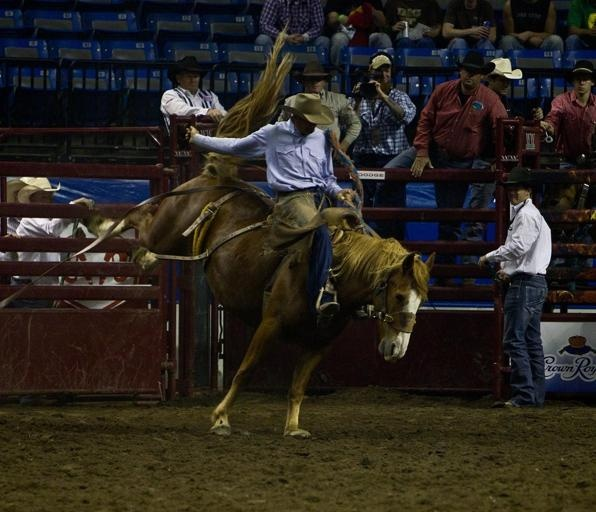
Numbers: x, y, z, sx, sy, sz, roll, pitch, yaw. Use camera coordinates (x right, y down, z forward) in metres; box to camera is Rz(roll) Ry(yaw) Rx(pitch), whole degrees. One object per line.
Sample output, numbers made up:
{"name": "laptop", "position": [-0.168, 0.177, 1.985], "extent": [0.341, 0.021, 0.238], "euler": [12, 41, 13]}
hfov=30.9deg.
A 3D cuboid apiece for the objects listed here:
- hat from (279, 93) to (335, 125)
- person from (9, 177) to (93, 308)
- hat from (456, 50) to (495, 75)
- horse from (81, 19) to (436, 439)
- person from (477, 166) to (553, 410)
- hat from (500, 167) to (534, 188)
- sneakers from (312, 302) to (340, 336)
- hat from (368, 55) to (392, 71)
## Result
{"name": "hat", "position": [0.110, -1.364, 9.931], "extent": [0.471, 0.288, 0.539], "euler": [2, 8, 2]}
{"name": "person", "position": [-2.779, -0.169, 11.797], "extent": [0.754, 1.434, 1.402], "euler": [0, 8, -11]}
{"name": "hat", "position": [2.003, -2.155, 11.978], "extent": [0.394, 0.153, 0.426], "euler": [15, -11, 10]}
{"name": "horse", "position": [-0.273, -0.209, 9.937], "extent": [2.977, 3.652, 1.124], "euler": [9, 11, 38]}
{"name": "person", "position": [2.287, 0.316, 10.984], "extent": [0.630, 2.415, 0.555], "euler": [4, 9, 10]}
{"name": "hat", "position": [2.268, -0.808, 11.067], "extent": [0.303, 0.107, 0.305], "euler": [2, 2, 11]}
{"name": "sneakers", "position": [0.224, 0.518, 9.406], "extent": [0.245, 0.288, 0.124], "euler": [0, 38, -41]}
{"name": "hat", "position": [1.030, -2.397, 13.339], "extent": [0.227, 0.158, 0.228], "euler": [5, -16, -4]}
